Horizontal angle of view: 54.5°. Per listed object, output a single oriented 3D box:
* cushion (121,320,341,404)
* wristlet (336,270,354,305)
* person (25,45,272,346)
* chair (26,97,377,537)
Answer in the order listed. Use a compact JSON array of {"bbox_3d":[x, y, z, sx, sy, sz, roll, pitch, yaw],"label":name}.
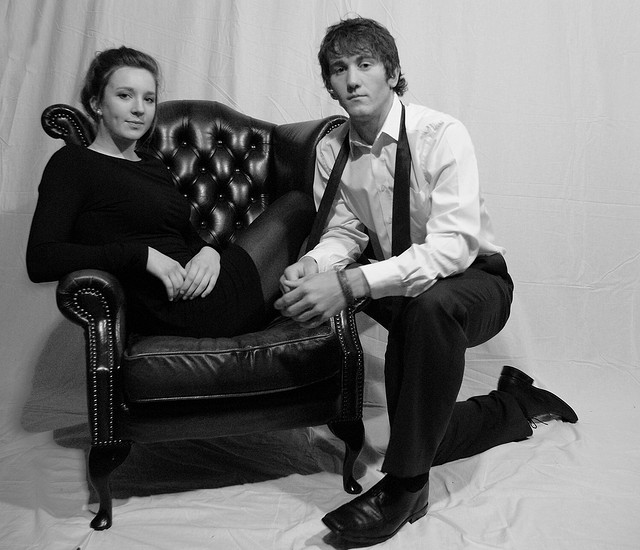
[{"bbox_3d":[-0.230,0.244,1.715,0.596,0.216,0.150,4,9,-15],"label":"cushion"},{"bbox_3d":[0.066,0.038,1.623,0.014,0.067,0.061,-13,-27,5],"label":"wristlet"},{"bbox_3d":[-0.495,-0.237,2.007,0.732,1.178,0.590,-8,-9,-2],"label":"person"},{"bbox_3d":[-0.368,0.001,2.073,0.993,1.179,1.055,10,13,40],"label":"chair"}]
